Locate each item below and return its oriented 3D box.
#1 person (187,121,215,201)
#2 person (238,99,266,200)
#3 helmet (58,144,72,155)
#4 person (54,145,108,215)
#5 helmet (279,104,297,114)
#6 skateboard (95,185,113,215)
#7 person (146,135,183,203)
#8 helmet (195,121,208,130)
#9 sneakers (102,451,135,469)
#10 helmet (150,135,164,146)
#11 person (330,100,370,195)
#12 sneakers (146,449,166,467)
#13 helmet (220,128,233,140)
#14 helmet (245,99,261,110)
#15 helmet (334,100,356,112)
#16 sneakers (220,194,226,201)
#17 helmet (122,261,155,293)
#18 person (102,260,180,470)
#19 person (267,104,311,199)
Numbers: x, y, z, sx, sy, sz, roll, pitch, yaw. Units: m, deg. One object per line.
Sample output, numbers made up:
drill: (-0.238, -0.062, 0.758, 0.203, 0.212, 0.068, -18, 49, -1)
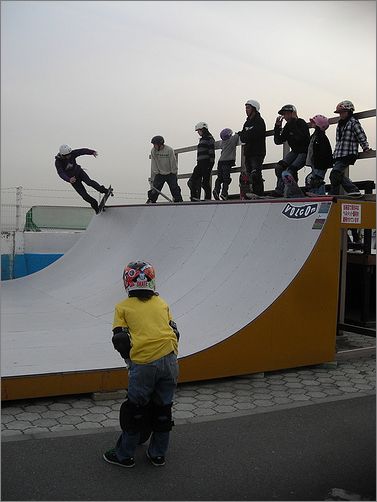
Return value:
person: (0.298, -1.995, 10.786, 0.576, 1.799, 0.964, 0, -1, -1)
person: (1.224, -1.927, 8.852, 0.499, 1.808, 0.610, 0, -1, 2)
helmet: (-2.838, -2.337, 10.902, 0.277, 0.228, 0.376, 1, -2, -16)
person: (-2.619, -1.717, 11.274, 1.119, 1.442, 0.787, 1, -2, -20)
helmet: (1.683, -2.397, 7.981, 0.258, 0.120, 0.187, 7, 0, -3)
skateboard: (-2.037, -1.201, 11.453, 0.143, 0.222, 0.830, 5, -37, -22)
person: (-0.557, -1.858, 11.094, 0.798, 1.534, 0.934, 0, -1, -5)
helmet: (0.296, -2.790, 10.502, 0.260, 0.226, 0.180, 0, -1, 1)
sneakers: (-0.447, 1.308, 3.005, 0.198, 0.077, 0.078, 15, -19, 23)
helmet: (-0.701, -2.500, 10.748, 0.272, 0.271, 0.274, 0, -1, -1)
person: (2.475, -1.587, 7.255, 0.571, 1.574, 0.888, 0, -1, 9)
sneakers: (-0.205, 1.314, 3.016, 0.054, 0.059, 0.151, 0, 1, -13)
helmet: (0.810, -2.488, 10.037, 0.238, 0.272, 0.209, 0, -1, 1)
helmet: (1.186, -2.704, 8.788, 0.247, 0.194, 0.191, 10, 11, -2)
helmet: (2.431, -2.256, 7.366, 0.256, 0.151, 0.176, 8, 9, -18)
sneakers: (0.744, -1.152, 9.990, 0.136, 0.155, 0.371, 0, -2, 4)
helmet: (-0.313, 0.171, 3.056, 0.167, 0.169, 0.216, 1, 2, -8)
person: (-0.291, 0.709, 2.978, 0.468, 1.285, 0.289, 1, -1, -9)
person: (1.768, -1.724, 8.095, 0.643, 1.521, 0.448, 0, -2, 21)
